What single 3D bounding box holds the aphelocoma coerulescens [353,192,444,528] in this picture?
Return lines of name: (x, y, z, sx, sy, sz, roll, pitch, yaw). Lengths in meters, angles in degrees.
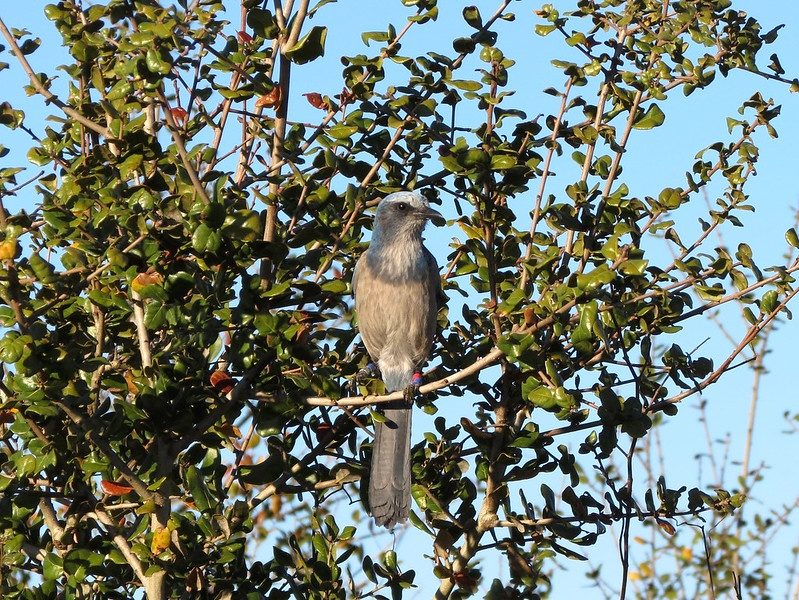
aphelocoma coerulescens: (-0.020, 0.395, 11.243, 0.494, 2.133, 0.803, 4, -3, 0)
